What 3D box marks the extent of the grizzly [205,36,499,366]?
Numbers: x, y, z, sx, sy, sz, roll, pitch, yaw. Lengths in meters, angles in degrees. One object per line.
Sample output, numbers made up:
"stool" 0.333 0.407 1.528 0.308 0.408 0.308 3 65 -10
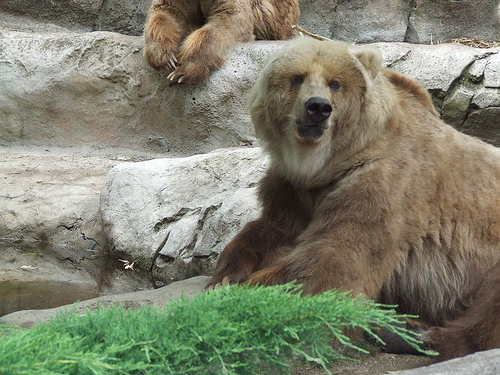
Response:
"grizzly" 0.804 -0.003 3.682 1.831 2.013 1.168 -5 10 -3
